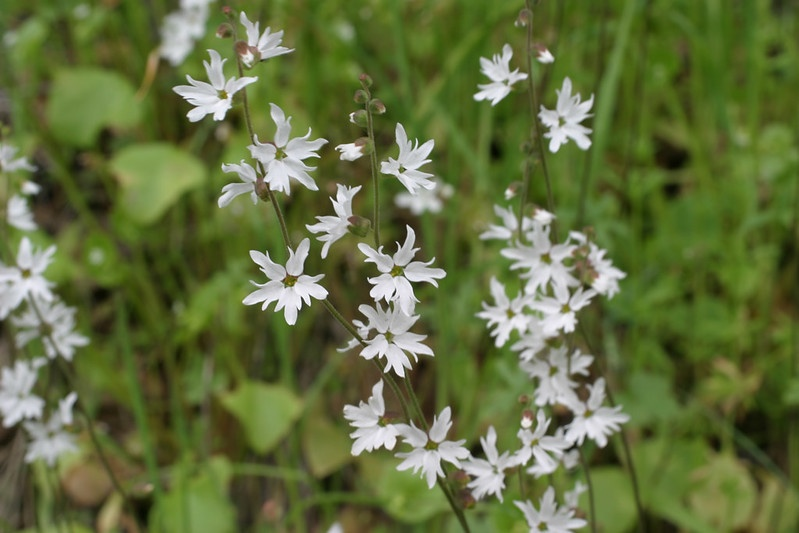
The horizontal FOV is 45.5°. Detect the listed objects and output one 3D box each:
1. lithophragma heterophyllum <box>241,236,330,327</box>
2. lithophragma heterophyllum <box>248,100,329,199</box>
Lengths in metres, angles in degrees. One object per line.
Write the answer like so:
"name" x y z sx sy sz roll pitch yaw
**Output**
"lithophragma heterophyllum" -0.295 0.012 2.408 0.172 0.084 0.224 -27 20 14
"lithophragma heterophyllum" -0.295 -0.294 2.387 0.199 0.117 0.229 38 29 29
